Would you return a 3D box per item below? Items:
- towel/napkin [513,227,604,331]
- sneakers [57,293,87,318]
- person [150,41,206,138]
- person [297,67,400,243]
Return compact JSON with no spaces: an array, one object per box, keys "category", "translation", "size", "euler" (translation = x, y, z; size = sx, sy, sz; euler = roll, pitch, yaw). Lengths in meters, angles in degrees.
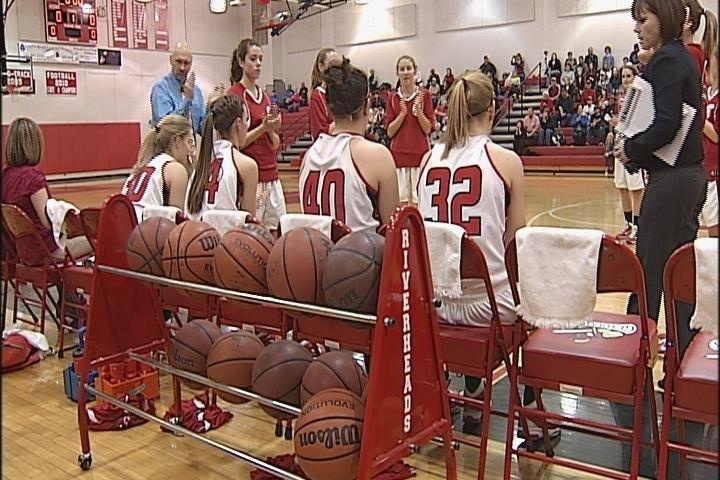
[{"category":"towel/napkin","translation":[0.902,0.166,2.489],"size":[0.434,0.585,0.250],"euler":[1,7,19]},{"category":"sneakers","translation":[-2.474,0.569,4.656],"size":[0.206,0.235,0.291],"euler":[2,-1,-23]},{"category":"person","translation":[-1.999,-1.515,6.040],"size":[0.555,1.186,0.607],"euler":[-12,22,-41]},{"category":"person","translation":[-0.070,-0.566,3.505],"size":[0.641,1.159,0.646],"euler":[8,25,7]}]
